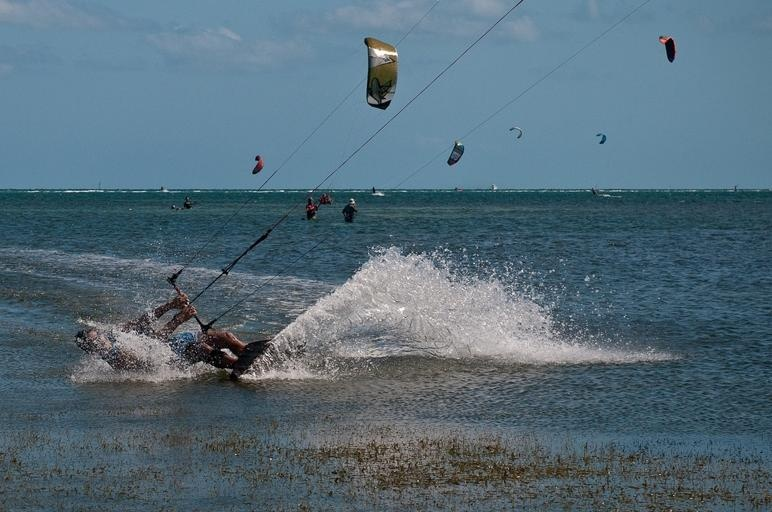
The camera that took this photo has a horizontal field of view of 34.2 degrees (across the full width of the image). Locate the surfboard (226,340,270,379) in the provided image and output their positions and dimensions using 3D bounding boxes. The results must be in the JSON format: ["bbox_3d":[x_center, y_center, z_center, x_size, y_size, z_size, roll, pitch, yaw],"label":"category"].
[{"bbox_3d":[-3.826,2.820,35.024,0.479,0.503,1.775,-34,4,42],"label":"surfboard"}]
